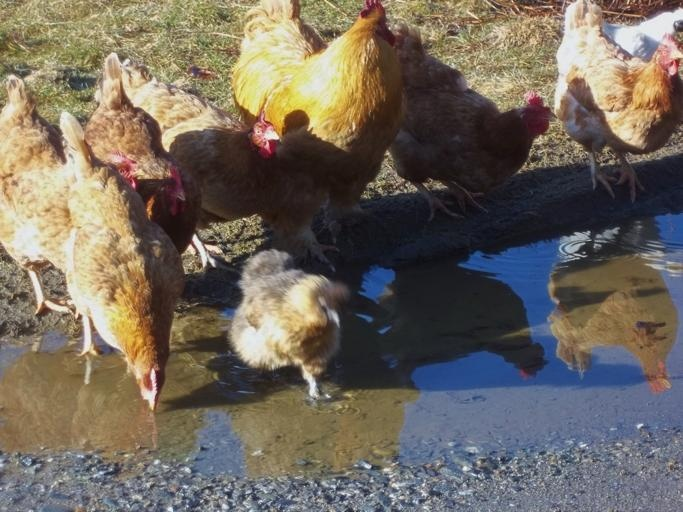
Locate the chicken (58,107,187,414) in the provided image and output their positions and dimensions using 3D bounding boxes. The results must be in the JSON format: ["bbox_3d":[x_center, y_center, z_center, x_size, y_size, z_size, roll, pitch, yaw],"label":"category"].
[{"bbox_3d":[-1.550,0.093,6.565,0.731,1.902,1.270,-16,-5,-38],"label":"chicken"}]

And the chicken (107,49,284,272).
[{"bbox_3d":[-1.328,-0.535,7.540,1.725,1.091,0.736,-2,17,4],"label":"chicken"}]
